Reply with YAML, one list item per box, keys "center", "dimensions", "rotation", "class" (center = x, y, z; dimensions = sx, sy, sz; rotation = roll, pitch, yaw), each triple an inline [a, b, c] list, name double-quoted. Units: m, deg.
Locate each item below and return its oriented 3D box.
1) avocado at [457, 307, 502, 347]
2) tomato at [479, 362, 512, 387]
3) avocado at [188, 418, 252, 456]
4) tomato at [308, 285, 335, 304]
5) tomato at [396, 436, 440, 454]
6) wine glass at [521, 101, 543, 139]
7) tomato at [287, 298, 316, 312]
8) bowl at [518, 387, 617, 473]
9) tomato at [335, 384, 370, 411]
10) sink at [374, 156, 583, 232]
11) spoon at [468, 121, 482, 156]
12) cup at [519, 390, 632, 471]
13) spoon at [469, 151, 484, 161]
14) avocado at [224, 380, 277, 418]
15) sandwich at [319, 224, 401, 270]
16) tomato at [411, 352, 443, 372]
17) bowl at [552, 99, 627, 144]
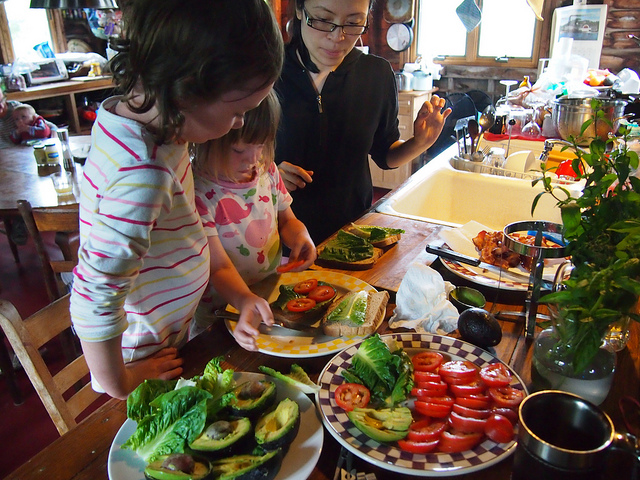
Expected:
- center: [0.406, 0.230, 1.131]
  dimensions: [0.060, 0.088, 0.100]
  rotation: [-12, 23, -35]
  class: "avocado"
- center: [0.391, 0.302, 0.977]
  dimensions: [0.081, 0.021, 0.063]
  rotation: [-4, 20, -18]
  class: "tomato"
- center: [-0.187, 0.385, 0.853]
  dimensions: [0.070, 0.032, 0.068]
  rotation: [-8, 15, -4]
  class: "avocado"
- center: [0.006, 0.164, 1.310]
  dimensions: [0.073, 0.026, 0.064]
  rotation: [-10, 22, -32]
  class: "tomato"
- center: [0.197, 0.408, 0.874]
  dimensions: [0.084, 0.021, 0.025]
  rotation: [3, 19, 1]
  class: "tomato"
- center: [1.441, -0.807, 2.968]
  dimensions: [0.129, 0.227, 0.360]
  rotation: [10, 20, 22]
  class: "wine glass"
- center: [-0.056, 0.190, 1.277]
  dimensions: [0.077, 0.017, 0.060]
  rotation: [-10, 23, -33]
  class: "tomato"
- center: [0.407, 0.326, 0.771]
  dimensions: [0.112, 0.108, 0.149]
  rotation: [-24, 28, -32]
  class: "bowl"
- center: [0.070, 0.344, 0.960]
  dimensions: [0.074, 0.021, 0.064]
  rotation: [3, 19, 0]
  class: "tomato"
- center: [0.730, -0.229, 2.045]
  dimensions: [0.578, 0.221, 0.471]
  rotation: [14, 38, 23]
  class: "sink"
- center: [0.831, -0.576, 2.364]
  dimensions: [0.053, 0.268, 0.034]
  rotation: [-2, 4, -23]
  class: "spoon"
- center: [0.421, 0.345, 0.749]
  dimensions: [0.148, 0.121, 0.121]
  rotation: [-2, 19, -12]
  class: "cup"
- center: [0.833, -0.443, 2.330]
  dimensions: [0.048, 0.050, 0.048]
  rotation: [-4, -10, 18]
  class: "spoon"
- center: [-0.149, 0.340, 0.951]
  dimensions: [0.117, 0.053, 0.092]
  rotation: [-16, 23, -40]
  class: "avocado"
- center: [0.120, -0.002, 1.545]
  dimensions: [0.186, 0.063, 0.189]
  rotation: [7, 35, 33]
  class: "sandwich"
- center: [0.251, 0.287, 1.037]
  dimensions: [0.081, 0.017, 0.061]
  rotation: [-7, 21, -25]
  class: "tomato"
- center: [1.506, -0.676, 2.517]
  dimensions: [0.386, 0.262, 0.429]
  rotation: [-1, 18, 10]
  class: "bowl"
